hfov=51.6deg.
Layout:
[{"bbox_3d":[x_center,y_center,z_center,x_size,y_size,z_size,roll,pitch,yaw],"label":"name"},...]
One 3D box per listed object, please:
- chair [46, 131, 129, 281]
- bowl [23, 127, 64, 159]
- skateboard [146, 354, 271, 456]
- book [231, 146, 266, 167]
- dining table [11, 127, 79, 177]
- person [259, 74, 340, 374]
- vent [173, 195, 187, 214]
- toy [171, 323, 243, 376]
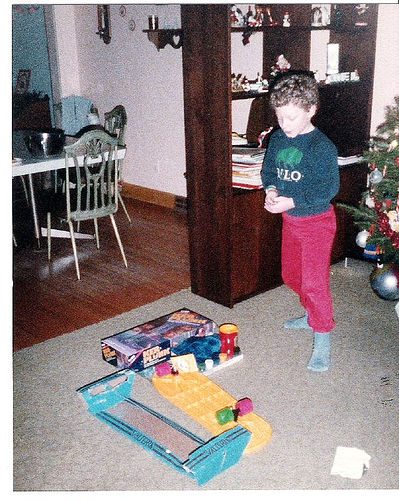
[{"bbox_3d":[-0.877,-0.395,3.189,0.652,1.017,0.632,9,21,19],"label":"chair"},{"bbox_3d":[-1.148,-0.783,3.117,0.277,0.177,0.280,-2,16,1],"label":"bowl"},{"bbox_3d":[0.042,0.563,1.657,0.259,0.101,0.642,-18,25,-37],"label":"skateboard"},{"bbox_3d":[0.269,-0.534,2.342,0.192,0.043,0.189,6,30,9],"label":"book"},{"bbox_3d":[-1.261,-0.801,3.328,0.498,0.293,1.368,-8,21,-15],"label":"dining table"},{"bbox_3d":[0.488,-0.151,1.984,0.397,1.261,0.744,4,21,19],"label":"person"},{"bbox_3d":[-0.204,-0.482,4.392,0.166,0.148,0.105,20,33,40],"label":"vent"},{"bbox_3d":[0.044,0.469,1.941,0.254,0.099,0.245,-5,19,-25],"label":"toy"}]
